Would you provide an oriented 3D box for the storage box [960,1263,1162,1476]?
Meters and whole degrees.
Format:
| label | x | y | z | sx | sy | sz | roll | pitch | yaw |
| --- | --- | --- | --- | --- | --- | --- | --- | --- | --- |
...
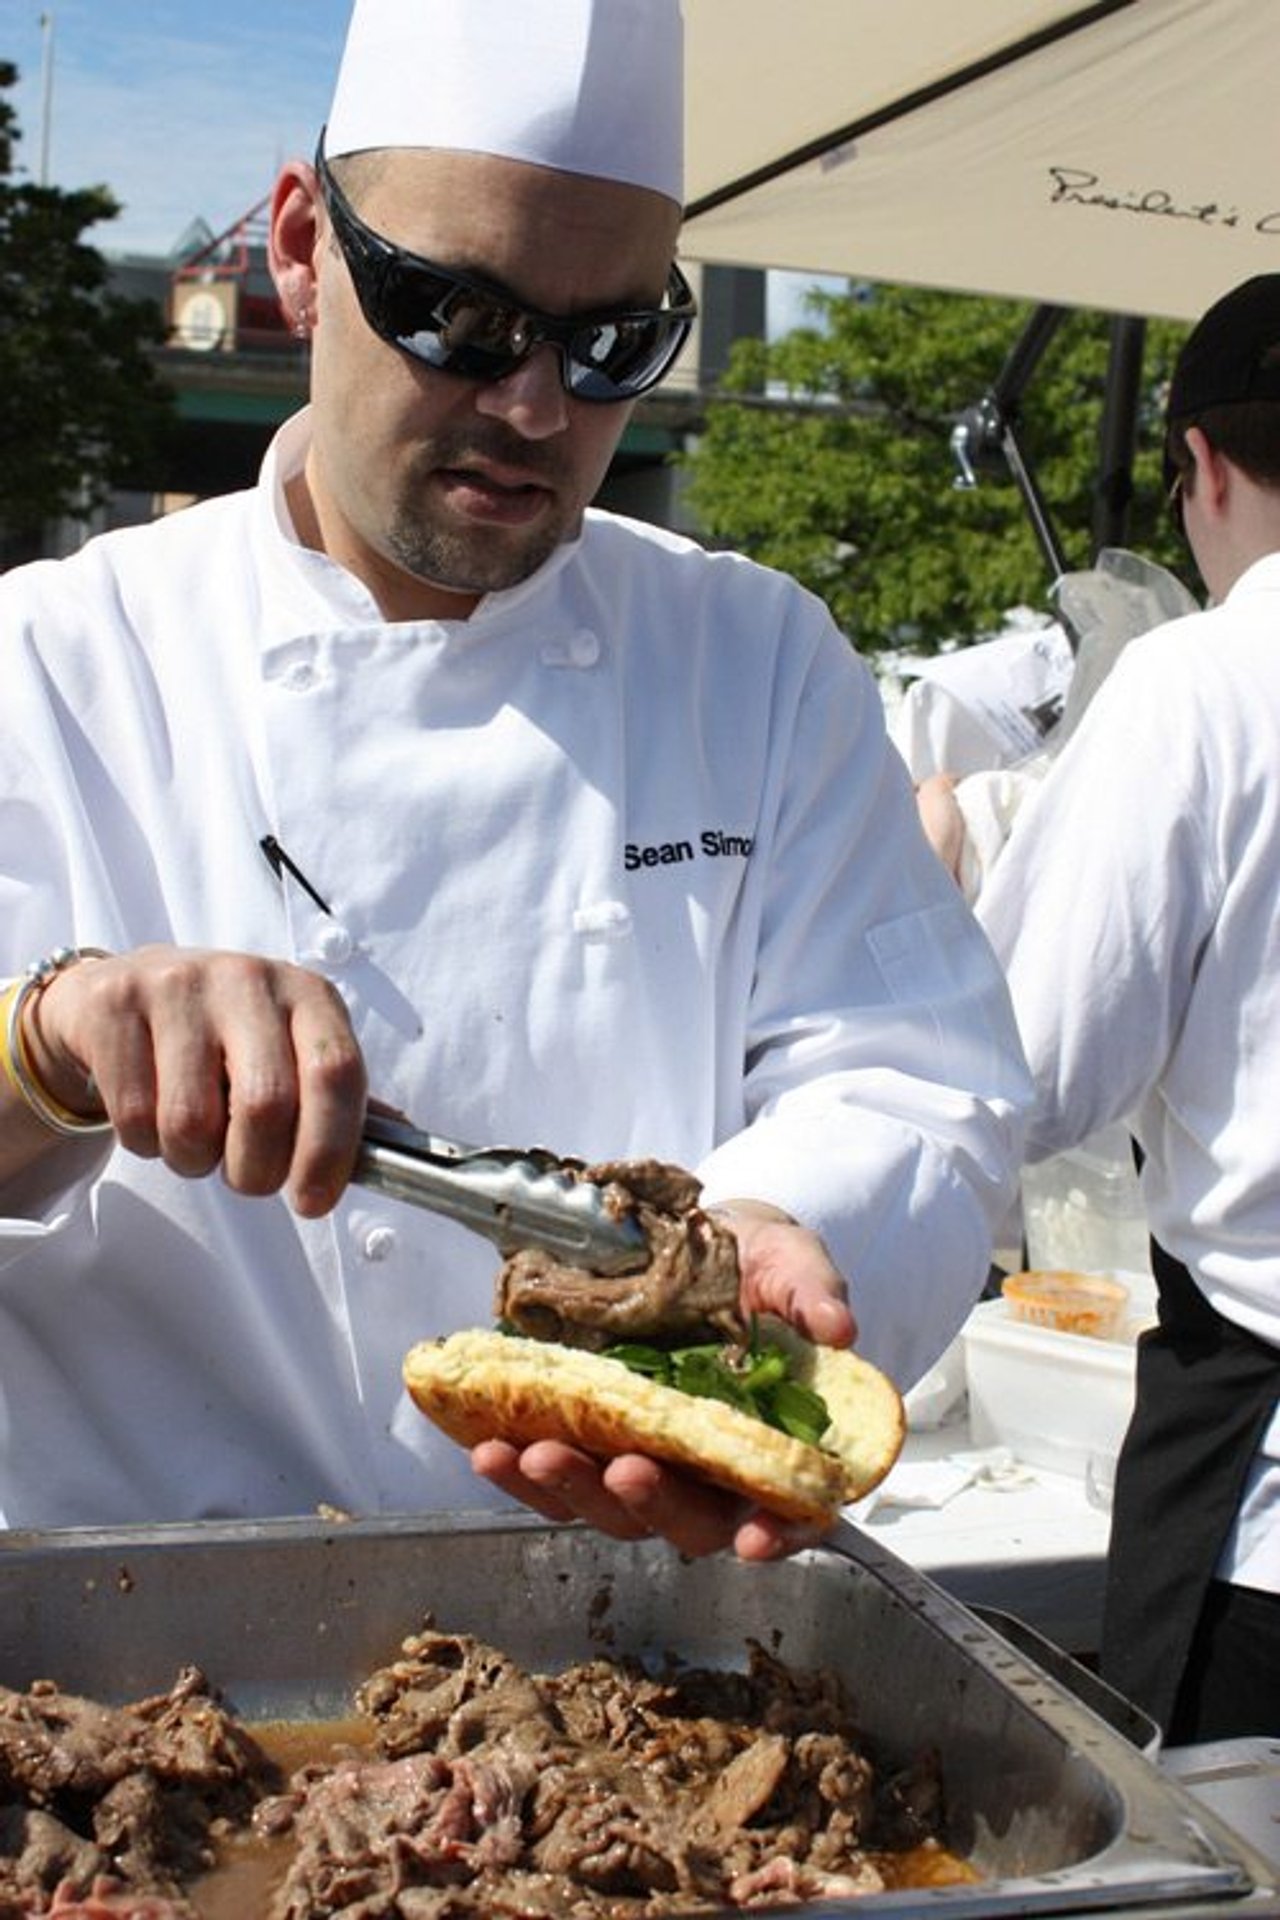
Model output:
| label | x | y | z | sx | sy | sz | roll | pitch | yaw |
| --- | --- | --- | --- | --- | --- | --- | --- | --- | --- |
| storage box | 0.744 | 0.730 | 3.533 | 0.356 | 0.271 | 0.354 | 3 | 4 | 15 |

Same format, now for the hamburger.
| label | x | y | z | sx | sy | sz | roll | pitch | yaw |
| --- | --- | --- | --- | --- | --- | --- | --- | --- | --- |
| hamburger | 0.002 | 0.280 | 1.737 | 0.535 | 0.274 | 0.498 | -1 | 5 | -34 |

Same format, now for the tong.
| label | x | y | z | sx | sy | sz | roll | pitch | yaw |
| --- | --- | --- | --- | --- | --- | --- | --- | --- | --- |
| tong | -0.127 | 0.188 | 1.590 | 0.253 | 0.086 | 0.058 | 14 | 12 | 27 |
